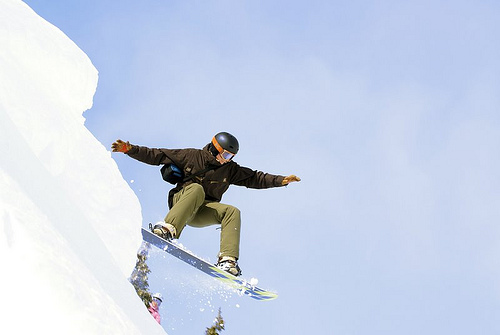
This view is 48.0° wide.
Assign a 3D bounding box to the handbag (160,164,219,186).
[{"bbox_3d":[-1.001,0.098,8.311,0.519,0.203,0.315,-16,-9,4],"label":"handbag"}]

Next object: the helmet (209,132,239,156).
[{"bbox_3d":[-0.377,-0.311,8.083,0.260,0.336,0.273,23,-64,-20],"label":"helmet"}]
